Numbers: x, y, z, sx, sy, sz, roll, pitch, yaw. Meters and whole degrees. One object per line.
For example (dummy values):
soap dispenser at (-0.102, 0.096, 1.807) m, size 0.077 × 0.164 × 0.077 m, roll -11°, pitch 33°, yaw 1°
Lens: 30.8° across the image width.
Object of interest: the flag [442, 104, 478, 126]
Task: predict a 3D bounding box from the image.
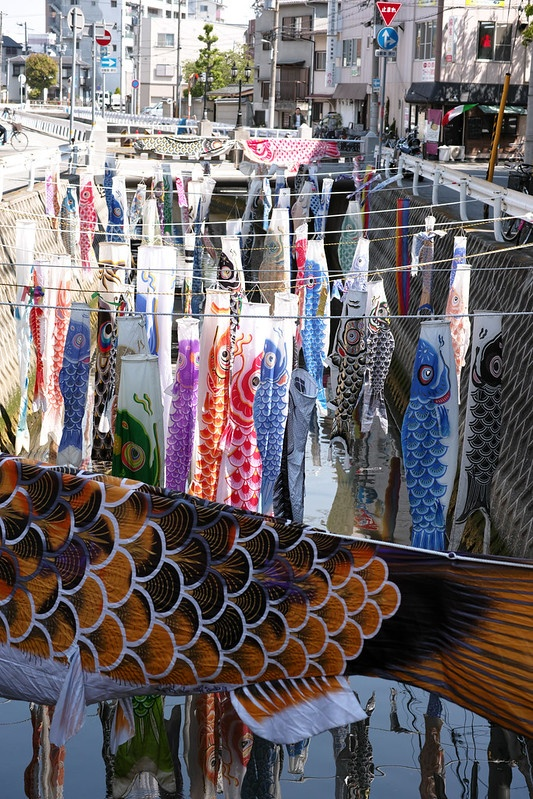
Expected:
flag at (4.655, -6.930, 23.806) m, size 0.652 × 0.523 × 0.884 m, roll 5°, pitch 15°, yaw 23°
